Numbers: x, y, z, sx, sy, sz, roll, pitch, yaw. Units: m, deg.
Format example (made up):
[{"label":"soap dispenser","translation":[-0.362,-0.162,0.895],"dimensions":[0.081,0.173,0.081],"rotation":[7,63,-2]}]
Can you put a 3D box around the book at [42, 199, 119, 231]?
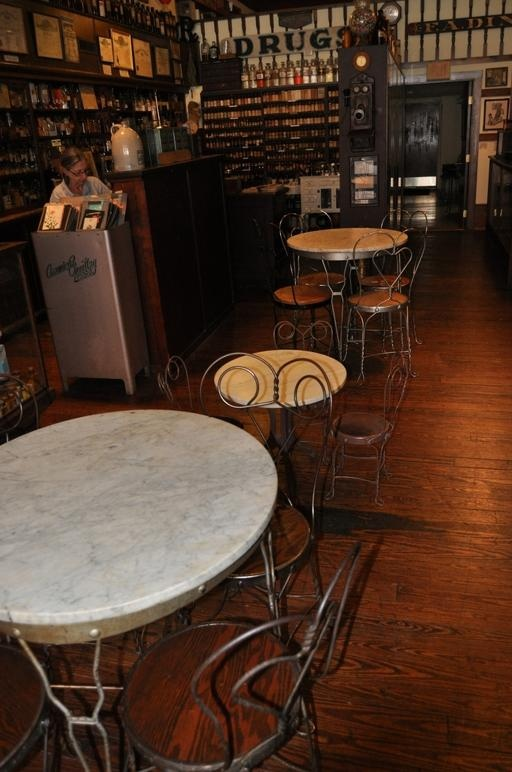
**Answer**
[{"label":"book","translation":[-1.176,-1.129,3.658],"dimensions":[0.390,0.124,0.278],"rotation":[0,26,-4]}]
